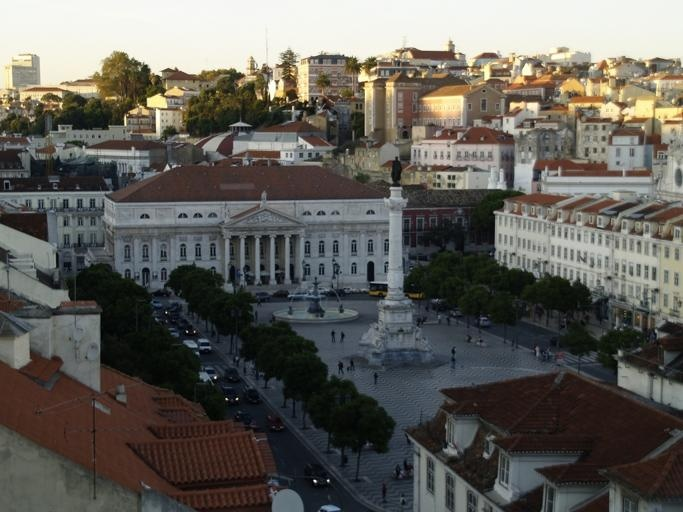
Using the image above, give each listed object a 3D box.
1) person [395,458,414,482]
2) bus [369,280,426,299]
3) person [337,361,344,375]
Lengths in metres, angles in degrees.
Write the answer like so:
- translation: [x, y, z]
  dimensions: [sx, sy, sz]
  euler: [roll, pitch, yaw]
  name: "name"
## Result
- translation: [4.182, 14.554, 117.139]
  dimensions: [1.296, 0.922, 1.272]
  euler: [-1, 2, -8]
  name: "person"
- translation: [5.407, 4.139, 180.090]
  dimensions: [6.273, 1.779, 1.918]
  euler: [3, 6, 43]
  name: "bus"
- translation: [-0.119, 9.285, 141.426]
  dimensions: [0.411, 1.246, 0.501]
  euler: [11, 21, 26]
  name: "person"
